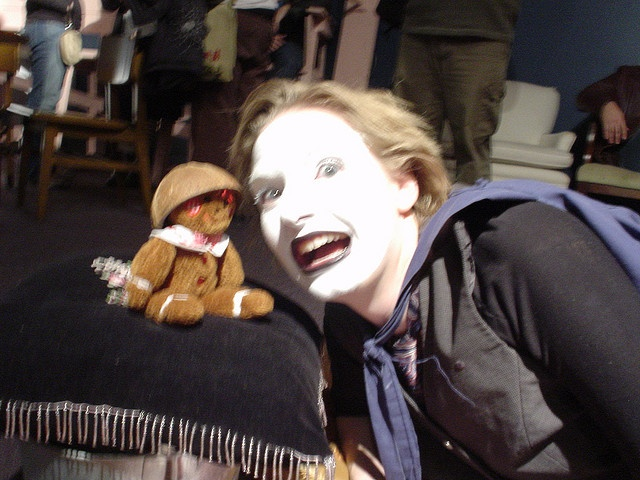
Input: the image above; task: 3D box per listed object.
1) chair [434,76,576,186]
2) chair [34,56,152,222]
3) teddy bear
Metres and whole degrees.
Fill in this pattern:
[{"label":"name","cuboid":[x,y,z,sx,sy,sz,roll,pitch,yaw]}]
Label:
[{"label":"chair","cuboid":[1.064,-0.539,2.919,0.490,0.655,0.555,7,12,1]},{"label":"chair","cuboid":[-0.495,-0.261,1.377,0.326,0.467,0.324,-1,15,-19]},{"label":"teddy bear","cuboid":[-0.235,0.026,1.321,0.315,0.450,0.378,4,1,43]}]
